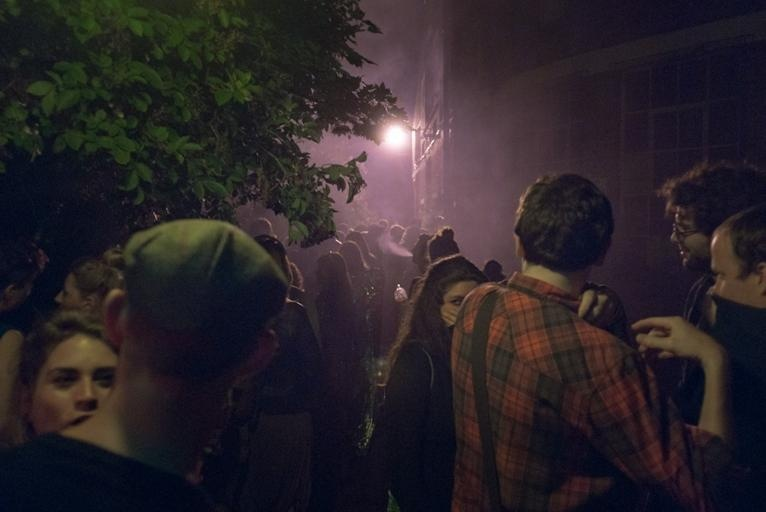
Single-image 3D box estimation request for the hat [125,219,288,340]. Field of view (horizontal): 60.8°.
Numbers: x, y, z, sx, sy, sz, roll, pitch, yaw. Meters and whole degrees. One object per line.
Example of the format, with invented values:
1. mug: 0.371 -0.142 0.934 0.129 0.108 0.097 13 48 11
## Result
1. hat: -1.002 0.154 3.648 0.755 0.565 0.327 15 -20 -4
